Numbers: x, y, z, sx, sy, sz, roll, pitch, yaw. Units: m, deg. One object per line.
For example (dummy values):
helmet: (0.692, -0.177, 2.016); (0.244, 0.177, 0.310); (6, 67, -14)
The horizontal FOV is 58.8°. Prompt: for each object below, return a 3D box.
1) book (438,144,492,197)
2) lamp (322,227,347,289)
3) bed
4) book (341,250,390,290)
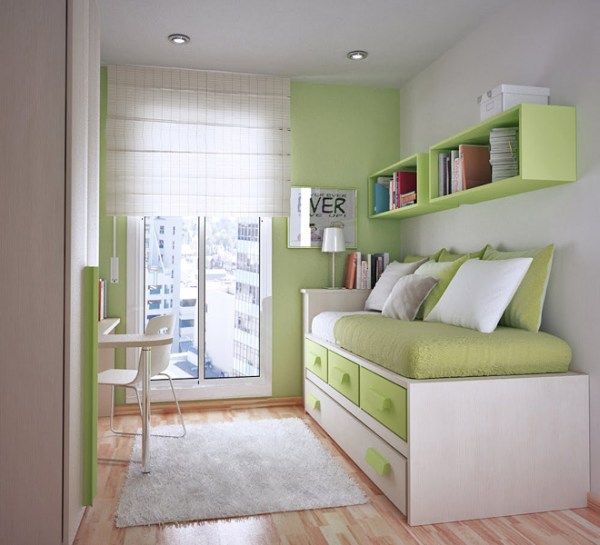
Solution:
book: (0.990, -0.613, 3.212); (0.247, 0.371, 0.357); (0, 2, 8)
lamp: (0.277, -0.124, 4.366); (0.197, 0.503, 0.296); (0, 4, 6)
bed: (0.771, 0.746, 2.775); (0.631, 0.721, 1.229); (2, -4, -14)
book: (0.535, -0.015, 4.508); (0.266, 0.402, 0.377); (2, 1, -9)
